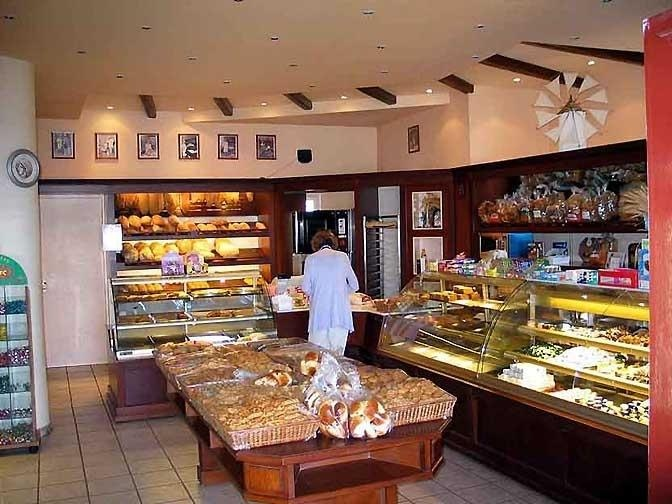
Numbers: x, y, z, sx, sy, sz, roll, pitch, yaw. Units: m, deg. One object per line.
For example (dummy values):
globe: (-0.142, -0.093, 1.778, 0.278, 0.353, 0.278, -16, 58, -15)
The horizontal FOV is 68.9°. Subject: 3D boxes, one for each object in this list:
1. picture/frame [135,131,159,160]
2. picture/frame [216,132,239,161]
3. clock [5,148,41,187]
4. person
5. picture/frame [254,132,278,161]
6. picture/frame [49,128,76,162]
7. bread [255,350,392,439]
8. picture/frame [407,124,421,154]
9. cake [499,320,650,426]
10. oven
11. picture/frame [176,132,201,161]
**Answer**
picture/frame: (-3.205, -1.798, 8.231, 0.515, 0.588, 0.060, 1, 8, -14)
picture/frame: (-1.929, -1.862, 8.571, 0.543, 0.598, 0.046, 0, 9, -15)
clock: (-3.026, -0.808, 4.729, 0.080, 0.323, 0.331, -5, -15, 27)
person: (-0.088, 0.608, 5.657, 0.639, 1.706, 0.557, -4, 16, -14)
picture/frame: (-1.280, -1.888, 8.737, 0.529, 0.590, 0.062, -1, 2, -9)
picture/frame: (-4.418, -1.716, 7.912, 0.344, 0.347, 0.021, -2, 2, -17)
bread: (-0.004, 0.727, 2.531, 0.372, 0.167, 0.516, -1, 6, -10)
picture/frame: (1.301, -1.894, 8.187, 0.044, 0.592, 0.541, -2, 4, -21)
cake: (1.703, 0.778, 3.477, 0.261, 0.532, 1.016, -3, 3, -34)
oven: (-0.350, -0.216, 8.751, 1.016, 1.298, 0.752, -2, 23, -10)
picture/frame: (-2.555, -1.823, 8.395, 0.525, 0.584, 0.044, 1, 2, -14)
